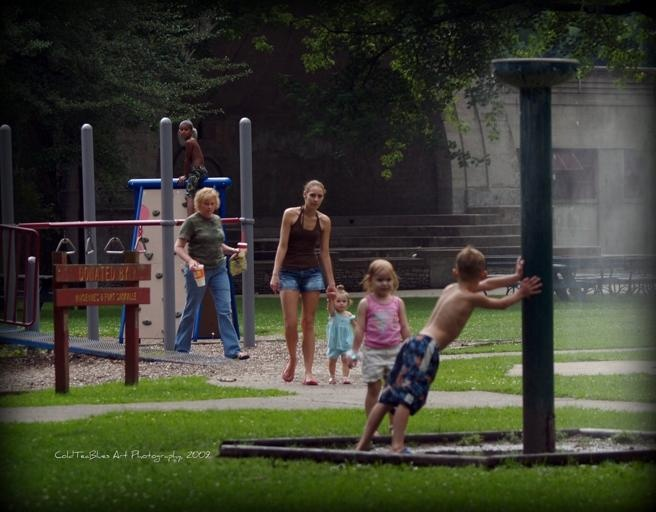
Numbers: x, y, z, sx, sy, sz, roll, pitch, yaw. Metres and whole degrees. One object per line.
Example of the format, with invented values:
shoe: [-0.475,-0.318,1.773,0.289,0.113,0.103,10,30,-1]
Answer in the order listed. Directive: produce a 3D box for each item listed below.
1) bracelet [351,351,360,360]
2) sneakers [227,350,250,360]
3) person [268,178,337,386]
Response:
bracelet: [0.349,1.259,17.822,0.086,0.106,0.102,1,1,-5]
sneakers: [-1.425,1.577,22.379,0.330,0.152,0.150,-3,0,4]
person: [-0.348,0.408,20.497,0.884,2.520,0.787,0,0,8]
